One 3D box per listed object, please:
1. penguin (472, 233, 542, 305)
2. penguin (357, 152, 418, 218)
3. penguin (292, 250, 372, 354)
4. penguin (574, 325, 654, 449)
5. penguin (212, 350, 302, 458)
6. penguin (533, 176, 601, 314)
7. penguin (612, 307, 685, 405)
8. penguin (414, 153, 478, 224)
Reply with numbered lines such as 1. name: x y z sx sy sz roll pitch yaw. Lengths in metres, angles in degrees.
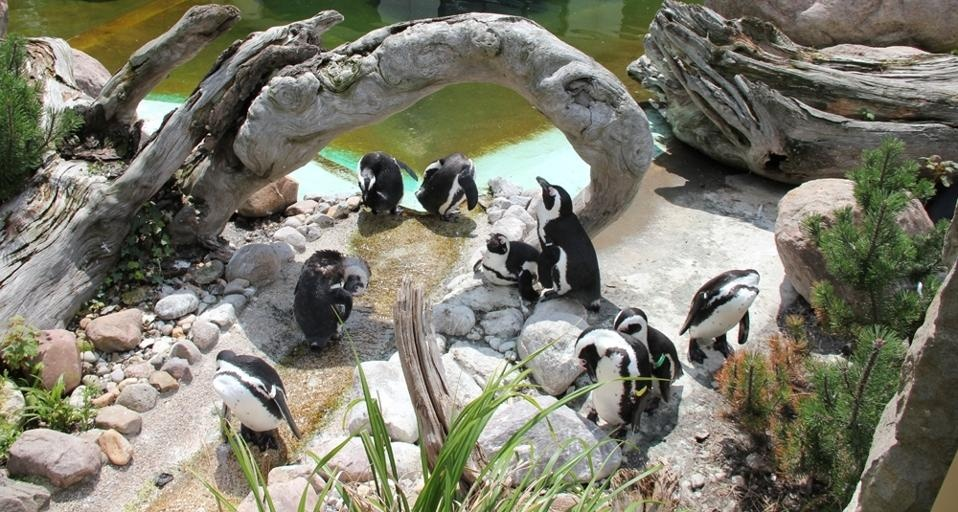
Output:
1. penguin: 0.361 0.131 8.543 0.630 0.745 0.347 2 30 1
2. penguin: -1.181 -0.824 9.749 0.881 0.884 0.404 1 0 6
3. penguin: -1.598 0.471 8.437 0.798 1.077 0.685 1 2 -15
4. penguin: 1.269 1.227 7.453 0.638 1.078 0.657 3 2 4
5. penguin: -2.127 1.387 7.391 0.722 0.901 0.447 -2 30 -6
6. penguin: 0.961 -0.100 8.608 0.996 1.313 1.374 8 29 11
7. penguin: 1.688 0.981 7.862 0.700 1.028 0.661 -23 29 -23
8. penguin: -0.409 -0.878 9.745 0.842 0.773 0.789 4 34 -7
